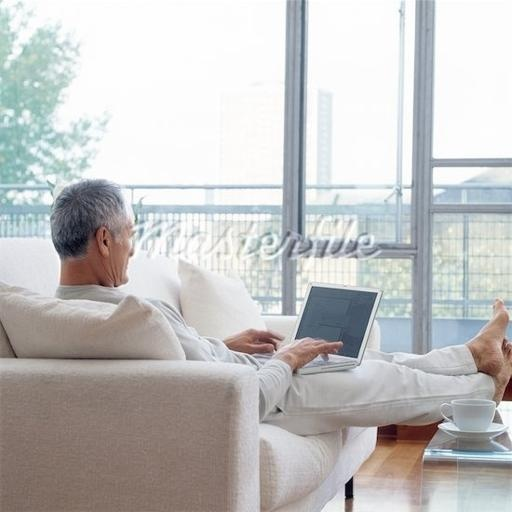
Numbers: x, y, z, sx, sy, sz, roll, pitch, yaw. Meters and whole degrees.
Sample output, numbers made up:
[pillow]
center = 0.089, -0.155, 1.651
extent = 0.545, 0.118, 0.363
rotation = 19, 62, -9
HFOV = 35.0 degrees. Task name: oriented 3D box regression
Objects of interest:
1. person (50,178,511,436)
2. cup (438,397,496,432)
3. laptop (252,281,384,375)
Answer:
[person]
center = 0.039, 0.191, 2.527
extent = 1.287, 0.851, 0.649
rotation = 1, -1, -18
[cup]
center = 0.525, 0.413, 2.045
extent = 0.130, 0.087, 0.109
rotation = 0, -8, 17
[laptop]
center = 0.169, 0.221, 2.413
extent = 0.186, 0.293, 0.289
rotation = 13, -4, -39
